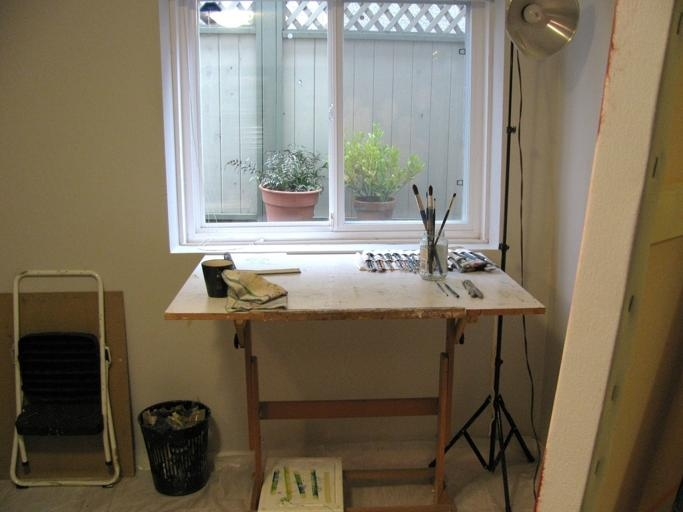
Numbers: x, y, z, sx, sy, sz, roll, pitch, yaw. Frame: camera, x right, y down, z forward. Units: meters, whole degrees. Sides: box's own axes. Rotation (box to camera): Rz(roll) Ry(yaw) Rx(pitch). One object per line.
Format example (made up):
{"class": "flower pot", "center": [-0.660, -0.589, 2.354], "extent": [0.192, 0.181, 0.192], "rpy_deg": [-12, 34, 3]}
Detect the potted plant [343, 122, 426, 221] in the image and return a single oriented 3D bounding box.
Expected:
{"class": "potted plant", "center": [0.184, -0.469, 3.246], "extent": [0.430, 0.558, 0.380], "rpy_deg": [1, 13, 1]}

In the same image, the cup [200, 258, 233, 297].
{"class": "cup", "center": [-0.440, 0.079, 2.133], "extent": [0.101, 0.118, 0.173], "rpy_deg": [-2, 12, -12]}

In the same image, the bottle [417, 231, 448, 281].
{"class": "bottle", "center": [0.353, 0.020, 2.325], "extent": [0.099, 0.176, 0.113], "rpy_deg": [2, -19, 6]}

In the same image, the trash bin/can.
{"class": "trash bin/can", "center": [-0.740, 0.879, 2.723], "extent": [0.274, 0.332, 0.299], "rpy_deg": [-2, 9, 7]}

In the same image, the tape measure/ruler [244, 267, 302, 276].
{"class": "tape measure/ruler", "center": [-0.254, 0.063, 2.352], "extent": [0.143, 0.016, 0.028], "rpy_deg": [4, 47, -5]}

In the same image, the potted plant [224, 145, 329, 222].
{"class": "potted plant", "center": [-0.283, -0.384, 3.044], "extent": [0.397, 0.309, 0.345], "rpy_deg": [0, 16, -8]}

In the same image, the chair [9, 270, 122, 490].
{"class": "chair", "center": [-1.288, 0.578, 2.697], "extent": [0.494, 0.994, 0.342], "rpy_deg": [-2, 12, -12]}
